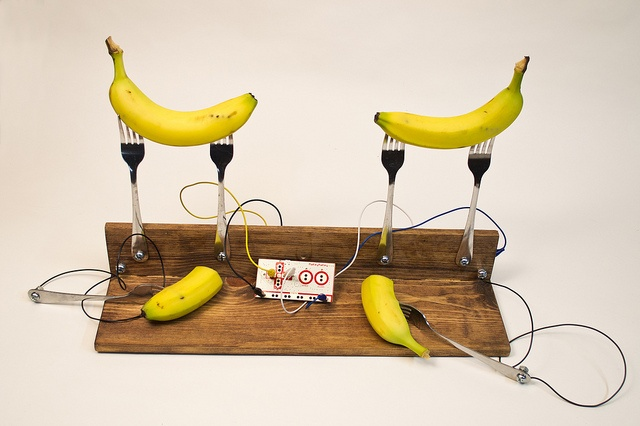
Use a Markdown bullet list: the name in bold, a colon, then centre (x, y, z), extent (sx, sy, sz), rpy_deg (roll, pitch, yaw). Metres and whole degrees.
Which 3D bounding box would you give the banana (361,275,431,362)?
- **banana**: centre (0.268, 0.415, 2.788), extent (0.141, 0.407, 0.153), rpy_deg (-18, -33, -27)
